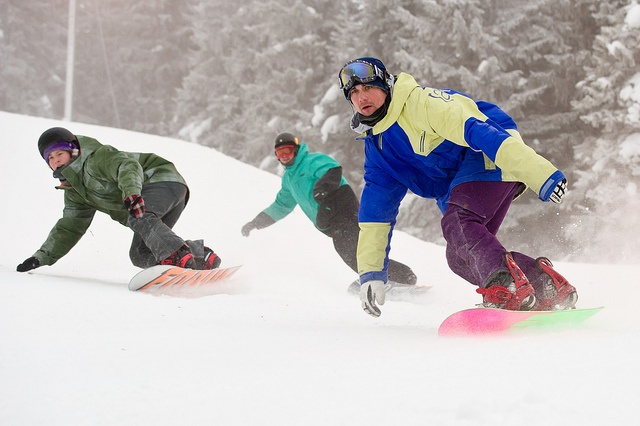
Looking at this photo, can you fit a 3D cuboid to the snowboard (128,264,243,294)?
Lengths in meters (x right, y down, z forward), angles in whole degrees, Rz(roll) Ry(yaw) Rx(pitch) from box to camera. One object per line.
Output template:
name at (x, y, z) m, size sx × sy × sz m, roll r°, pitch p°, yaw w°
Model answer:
snowboard at (-1.800, 0.894, 10.170) m, size 1.549 × 0.437 × 0.231 m, roll 4°, pitch 16°, yaw -46°

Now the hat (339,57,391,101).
hat at (0.543, -1.684, 9.304) m, size 0.573 × 0.458 × 0.634 m, roll -13°, pitch 3°, yaw 39°

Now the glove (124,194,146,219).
glove at (-2.481, -0.086, 10.057) m, size 0.225 × 0.314 × 0.122 m, roll 0°, pitch 21°, yaw 6°

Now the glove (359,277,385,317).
glove at (0.669, 1.041, 9.243) m, size 0.364 × 0.412 × 0.106 m, roll -19°, pitch 1°, yaw 1°

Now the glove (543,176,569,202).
glove at (2.762, -0.249, 8.552) m, size 0.179 × 0.263 × 0.418 m, roll -1°, pitch -10°, yaw 33°

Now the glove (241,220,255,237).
glove at (-1.124, 0.256, 11.657) m, size 0.157 × 0.280 × 0.074 m, roll 7°, pitch 22°, yaw -8°

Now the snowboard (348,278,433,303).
snowboard at (1.022, 1.185, 11.164) m, size 1.356 × 0.443 × 0.586 m, roll 0°, pitch -26°, yaw 11°
